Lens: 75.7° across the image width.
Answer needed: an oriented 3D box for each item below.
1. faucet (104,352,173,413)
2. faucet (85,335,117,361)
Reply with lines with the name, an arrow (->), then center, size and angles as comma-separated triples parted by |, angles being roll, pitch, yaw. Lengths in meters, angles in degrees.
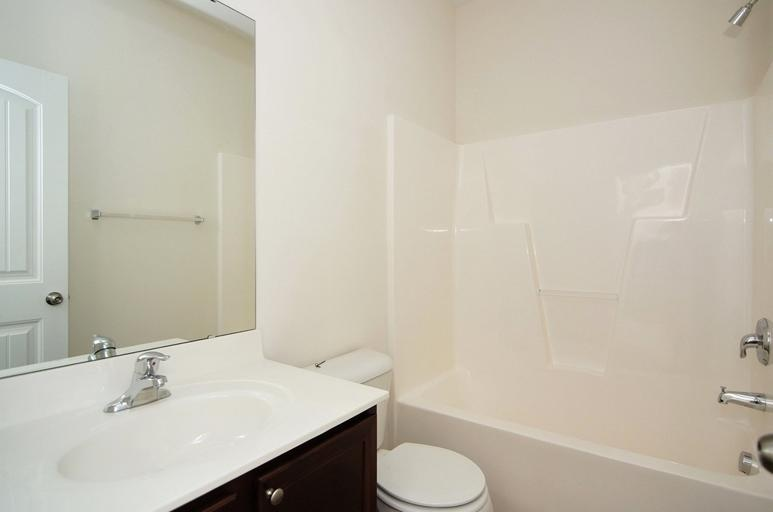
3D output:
faucet -> -0.852, 0.441, 1.768 | 0.217, 0.171, 0.167 | 0, -3, 26
faucet -> -1.027, 0.329, 1.790 | 0.086, 0.089, 0.063 | -7, 11, -36
